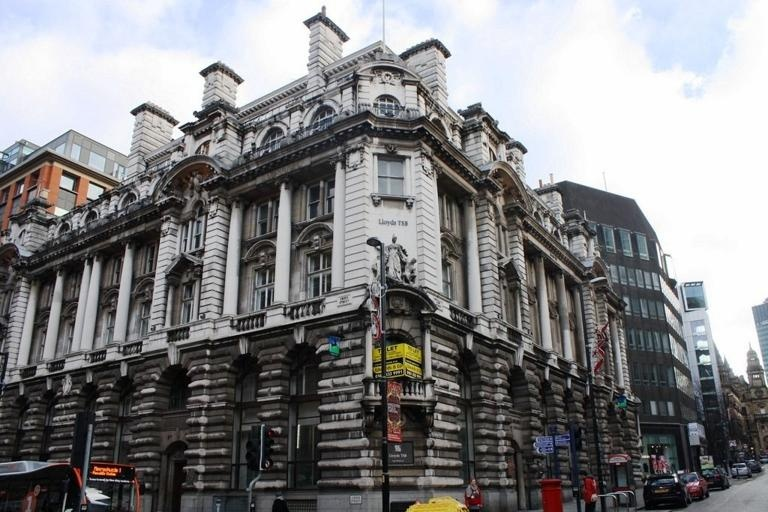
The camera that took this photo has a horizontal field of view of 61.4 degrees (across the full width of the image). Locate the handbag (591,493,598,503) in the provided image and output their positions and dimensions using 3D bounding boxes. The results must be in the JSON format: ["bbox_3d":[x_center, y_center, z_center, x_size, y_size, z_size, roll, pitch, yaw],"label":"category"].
[{"bbox_3d":[13.966,16.124,43.141,0.454,0.428,2.325,-11,-32,13],"label":"handbag"}]

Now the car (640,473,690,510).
[{"bbox_3d":[20.000,16.707,45.884,2.424,1.874,5.354,-8,-22,21],"label":"car"}]

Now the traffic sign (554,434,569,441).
[{"bbox_3d":[10.651,10.919,38.796,0.729,0.500,0.405,0,-4,1],"label":"traffic sign"}]
